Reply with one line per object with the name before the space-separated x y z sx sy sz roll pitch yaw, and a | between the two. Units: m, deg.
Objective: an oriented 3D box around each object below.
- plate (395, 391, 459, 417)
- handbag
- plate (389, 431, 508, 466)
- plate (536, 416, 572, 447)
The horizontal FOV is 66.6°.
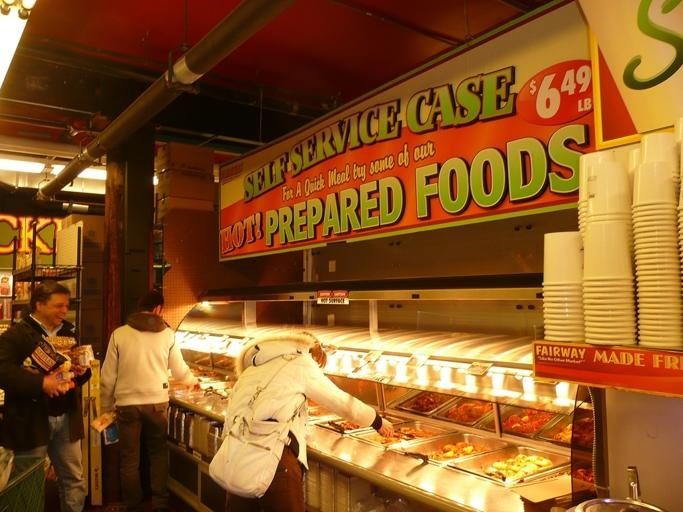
plate | 0.645 1.148 4.040 0.259 0.053 0.366 -1 11 42
handbag | -0.550 1.141 3.511 0.634 0.882 0.473 -6 -13 40
plate | 0.759 1.303 3.542 0.304 0.080 0.301 -3 2 -32
plate | 1.369 1.110 3.348 0.197 0.122 0.193 -4 6 33
